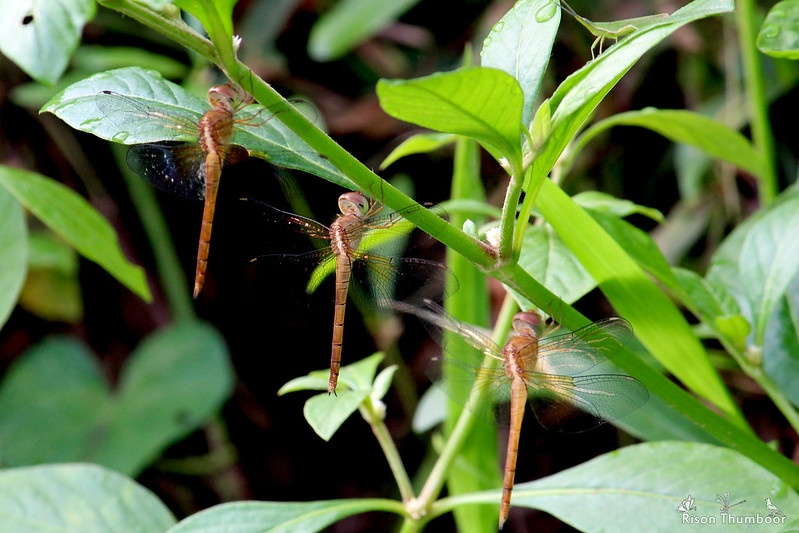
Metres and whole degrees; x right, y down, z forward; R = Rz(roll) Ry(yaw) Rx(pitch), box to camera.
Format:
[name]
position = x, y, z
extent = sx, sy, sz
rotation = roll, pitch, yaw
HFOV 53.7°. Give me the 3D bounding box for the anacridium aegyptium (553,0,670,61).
[anacridium aegyptium]
position = 0.480, -0.506, 1.675
extent = 0.163, 0.056, 0.283
rotation = -15, 9, 19
